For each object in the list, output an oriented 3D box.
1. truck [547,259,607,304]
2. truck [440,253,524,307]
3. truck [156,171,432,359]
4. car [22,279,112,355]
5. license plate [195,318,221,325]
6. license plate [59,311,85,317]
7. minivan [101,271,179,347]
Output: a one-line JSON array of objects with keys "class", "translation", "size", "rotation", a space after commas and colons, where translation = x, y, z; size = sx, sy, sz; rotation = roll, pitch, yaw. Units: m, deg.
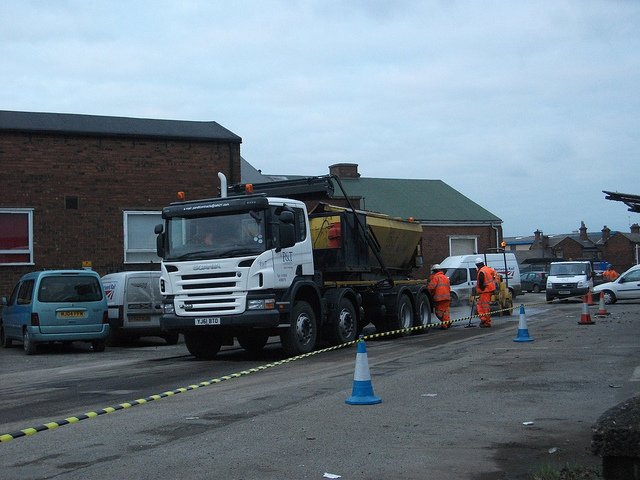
[{"class": "truck", "translation": [12.002, 1.871, 40.215], "size": [1.878, 1.464, 3.297], "rotation": [-4, -10, 24]}, {"class": "truck", "translation": [6.202, 1.641, 34.384], "size": [4.125, 1.984, 1.719], "rotation": [-1, -3, -25]}, {"class": "truck", "translation": [-0.461, 0.894, 20.507], "size": [3.288, 3.439, 7.792], "rotation": [-7, -9, 33]}, {"class": "car", "translation": [-5.951, 1.734, 20.301], "size": [1.348, 1.135, 2.207], "rotation": [0, -1, -23]}, {"class": "license plate", "translation": [-2.264, 1.650, 17.094], "size": [0.588, 0.109, 0.066], "rotation": [-1, 0, 30]}, {"class": "license plate", "translation": [-5.914, 1.778, 20.276], "size": [0.573, 0.104, 0.039], "rotation": [-1, 0, -17]}, {"class": "minivan", "translation": [-4.628, 1.726, 22.219], "size": [1.654, 1.509, 2.682], "rotation": [-1, 1, -29]}]
